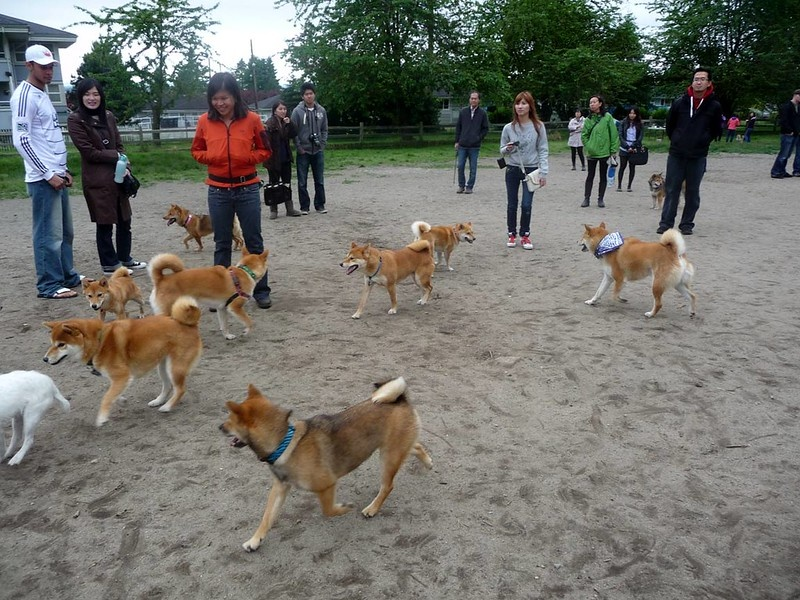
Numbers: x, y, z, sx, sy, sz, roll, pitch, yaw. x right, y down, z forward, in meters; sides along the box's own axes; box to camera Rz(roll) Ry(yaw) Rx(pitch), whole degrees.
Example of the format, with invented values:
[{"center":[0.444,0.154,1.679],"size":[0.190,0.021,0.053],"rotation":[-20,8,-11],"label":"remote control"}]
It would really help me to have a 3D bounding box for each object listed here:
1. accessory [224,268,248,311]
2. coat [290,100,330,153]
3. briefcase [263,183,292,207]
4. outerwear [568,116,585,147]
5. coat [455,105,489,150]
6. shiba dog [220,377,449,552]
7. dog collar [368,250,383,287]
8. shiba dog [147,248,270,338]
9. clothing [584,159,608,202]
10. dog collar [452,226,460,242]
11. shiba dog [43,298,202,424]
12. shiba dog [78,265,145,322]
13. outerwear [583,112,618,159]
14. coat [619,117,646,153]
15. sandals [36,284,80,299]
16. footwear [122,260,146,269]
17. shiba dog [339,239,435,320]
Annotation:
[{"center":[-1.883,-0.108,6.550],"size":[0.313,0.556,0.118],"rotation":[-9,0,-30],"label":"accessory"},{"center":[-1.926,-3.612,12.120],"size":[0.861,1.062,0.491],"rotation":[-8,18,-25],"label":"coat"},{"center":[-2.618,-2.280,12.260],"size":[0.745,0.549,0.398],"rotation":[-2,37,-5],"label":"briefcase"},{"center":[5.686,-5.427,18.709],"size":[0.377,0.971,1.292],"rotation":[3,17,12],"label":"outerwear"},{"center":[1.811,-4.389,14.699],"size":[0.787,0.993,0.469],"rotation":[1,17,7],"label":"coat"},{"center":[-0.525,1.123,4.168],"size":[1.394,0.961,0.424],"rotation":[-6,18,-18],"label":"shiba dog"},{"center":[-0.319,-0.344,7.191],"size":[0.079,0.302,0.244],"rotation":[6,4,-45],"label":"dog collar"},{"center":[-2.421,-0.283,6.766],"size":[1.303,1.069,1.222],"rotation":[-6,18,-45],"label":"shiba dog"},{"center":[1.781,-3.510,15.395],"size":[0.562,0.503,1.673],"rotation":[1,57,7],"label":"clothing"},{"center":[0.870,-1.025,9.014],"size":[0.171,0.296,0.079],"rotation":[5,-13,-9],"label":"dog collar"},{"center":[-2.409,0.563,5.171],"size":[1.227,1.019,0.430],"rotation":[-8,18,-24],"label":"shiba dog"},{"center":[-3.221,-0.041,6.738],"size":[0.393,0.679,1.112],"rotation":[-5,14,9],"label":"shiba dog"},{"center":[4.225,-3.477,12.220],"size":[0.755,0.937,0.560],"rotation":[3,17,12],"label":"outerwear"},{"center":[5.632,-4.055,14.092],"size":[0.560,0.727,0.549],"rotation":[5,18,19],"label":"coat"},{"center":[-4.437,-0.105,7.520],"size":[0.503,0.218,0.196],"rotation":[1,11,1],"label":"sandals"},{"center":[-3.994,-0.511,8.632],"size":[0.280,0.108,0.097],"rotation":[-2,35,-10],"label":"footwear"},{"center":[-0.103,-0.291,7.375],"size":[1.336,0.904,0.416],"rotation":[-13,21,-38],"label":"shiba dog"}]
